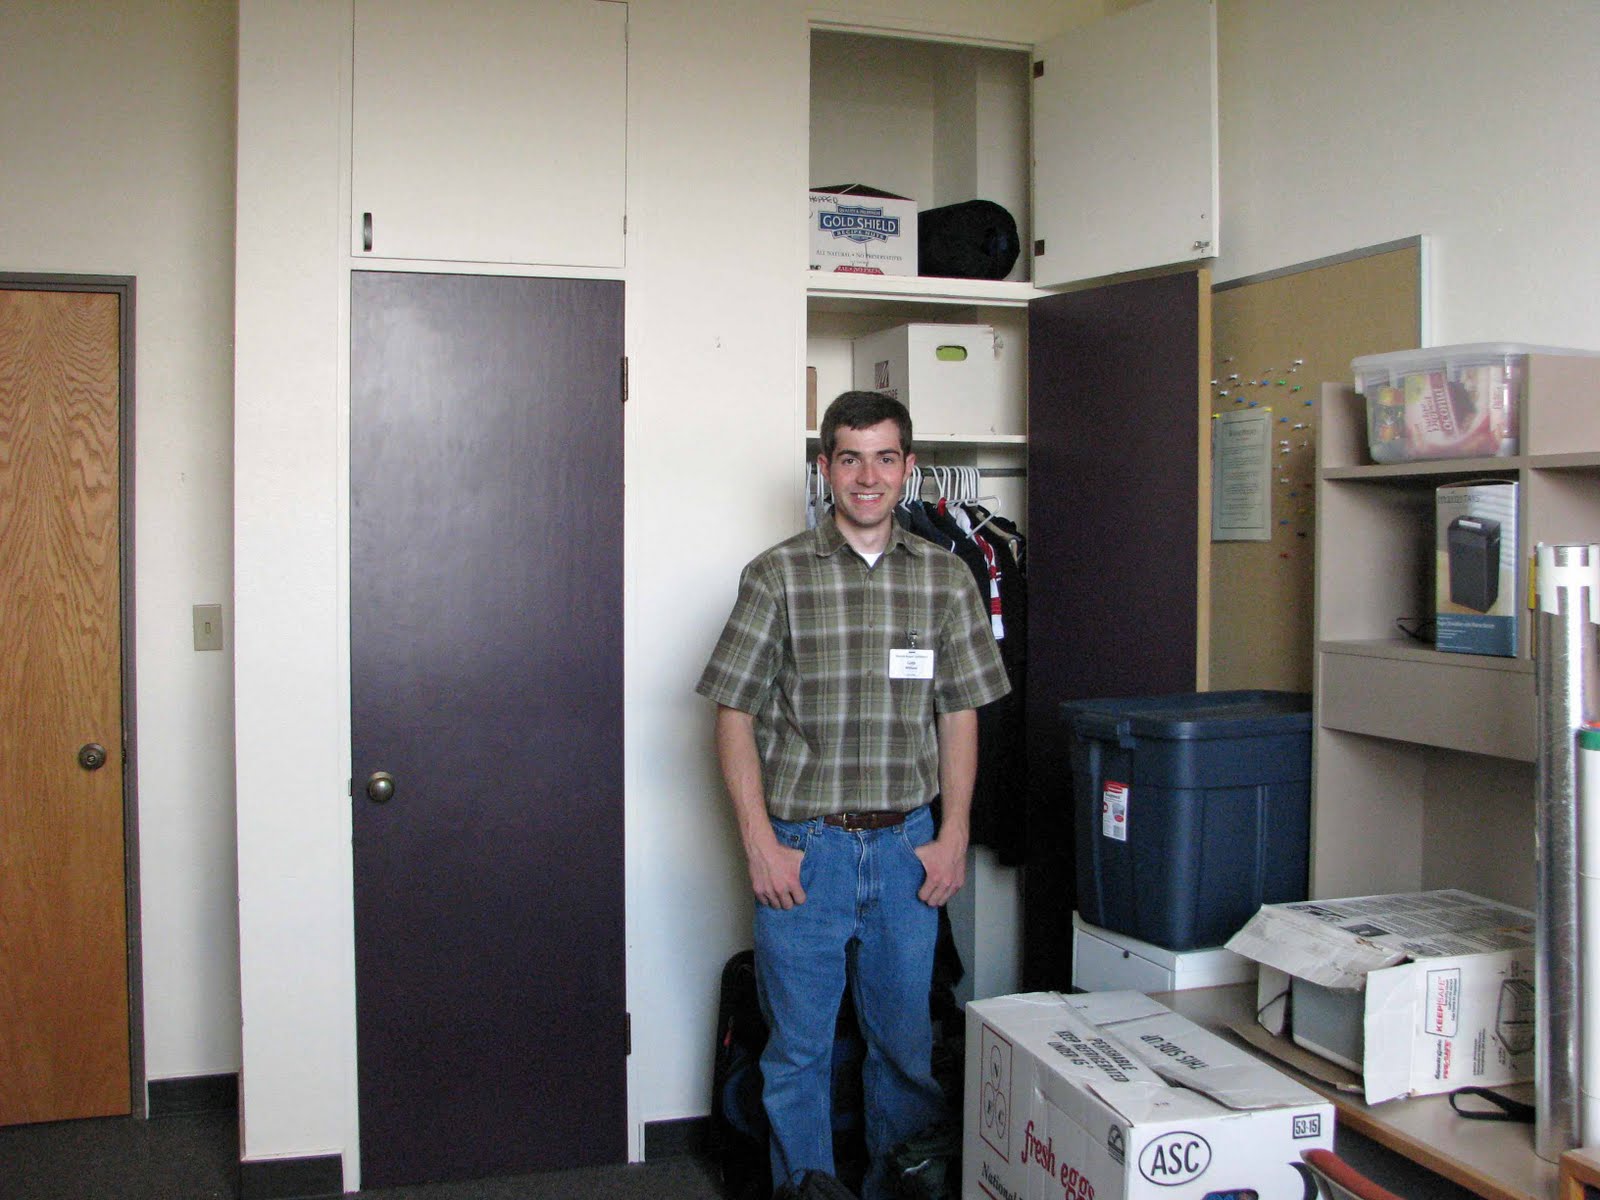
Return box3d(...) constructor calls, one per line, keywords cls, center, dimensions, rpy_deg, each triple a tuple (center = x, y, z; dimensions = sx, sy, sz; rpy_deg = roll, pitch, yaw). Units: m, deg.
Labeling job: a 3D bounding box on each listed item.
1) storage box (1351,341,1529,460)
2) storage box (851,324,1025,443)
box3d(cls="storage box", center=(1.448, -0.437, 2.875), dimensions=(0.266, 0.224, 0.383), rpy_deg=(-4, 4, -23))
box3d(cls="storage box", center=(0.411, -0.741, 4.359), dimensions=(0.585, 0.367, 0.577), rpy_deg=(-5, 12, -28))
